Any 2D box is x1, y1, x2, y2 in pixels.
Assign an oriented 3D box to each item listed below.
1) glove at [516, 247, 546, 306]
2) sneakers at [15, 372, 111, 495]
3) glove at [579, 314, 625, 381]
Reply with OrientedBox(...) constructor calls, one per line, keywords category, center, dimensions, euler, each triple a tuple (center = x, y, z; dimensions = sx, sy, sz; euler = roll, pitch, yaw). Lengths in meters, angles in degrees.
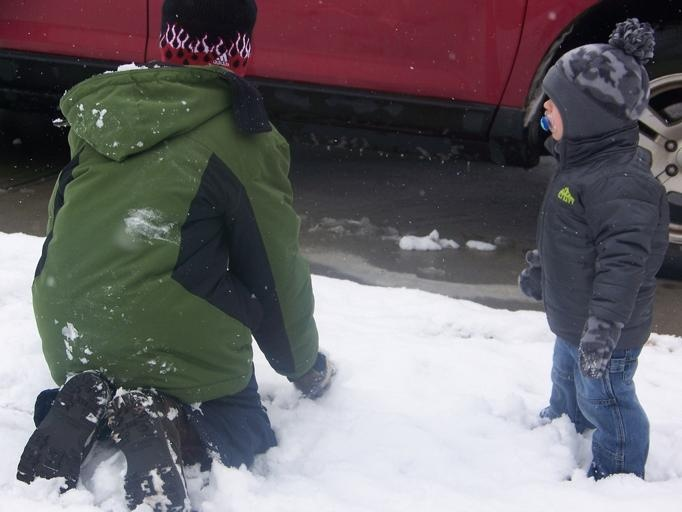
OrientedBox(category="glove", center=(0.812, 0.081, 3.323), dimensions=(0.070, 0.197, 0.147), euler=(-5, 22, -4))
OrientedBox(category="sneakers", center=(-0.905, 0.566, 2.735), dimensions=(0.193, 0.470, 0.207), euler=(29, -12, 2))
OrientedBox(category="glove", center=(0.896, 0.331, 2.860), dimensions=(0.125, 0.092, 0.290), euler=(6, 41, 18))
